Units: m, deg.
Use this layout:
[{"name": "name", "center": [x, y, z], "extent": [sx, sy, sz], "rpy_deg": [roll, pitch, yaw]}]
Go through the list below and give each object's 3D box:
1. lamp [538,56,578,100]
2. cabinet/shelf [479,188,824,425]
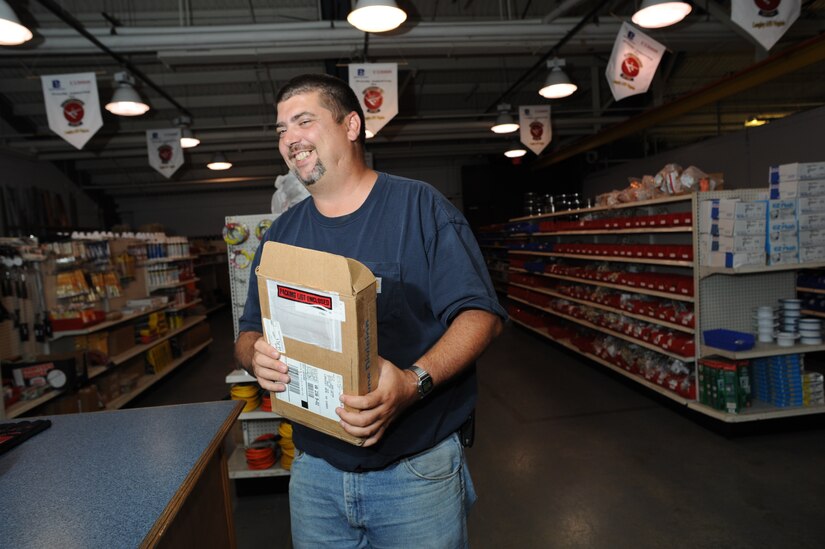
[{"name": "lamp", "center": [1.948, -2.655, 7.273], "extent": [0.430, 0.530, 0.430], "rpy_deg": [-2, 4, 33]}, {"name": "cabinet/shelf", "center": [3.030, 0.217, 8.465], "extent": [1.493, 2.473, 6.096], "rpy_deg": [-5, 3, -11]}]
